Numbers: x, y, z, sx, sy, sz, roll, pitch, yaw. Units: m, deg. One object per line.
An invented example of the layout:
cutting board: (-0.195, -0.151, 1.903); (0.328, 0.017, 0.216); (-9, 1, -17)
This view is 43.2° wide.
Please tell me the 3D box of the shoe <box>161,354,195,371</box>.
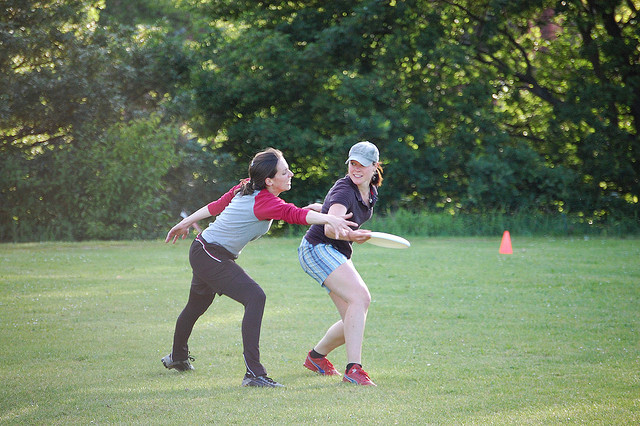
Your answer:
shoe: (-2.023, 2.152, 11.619); (0.535, 0.263, 0.182); (6, 34, -13)

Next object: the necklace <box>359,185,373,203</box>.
necklace: (0.685, -0.261, 11.540); (0.117, 0.173, 0.048); (-15, 1, 27)

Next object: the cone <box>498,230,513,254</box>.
cone: (4.349, 0.682, 18.895); (0.392, 0.474, 0.391); (-7, 15, -20)

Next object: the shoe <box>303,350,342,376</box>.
shoe: (-0.007, 2.150, 11.737); (0.635, 0.281, 0.233); (23, 0, -8)

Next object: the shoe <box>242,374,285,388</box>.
shoe: (-0.778, 2.301, 11.102); (0.588, 0.219, 0.194); (2, 2, -2)
